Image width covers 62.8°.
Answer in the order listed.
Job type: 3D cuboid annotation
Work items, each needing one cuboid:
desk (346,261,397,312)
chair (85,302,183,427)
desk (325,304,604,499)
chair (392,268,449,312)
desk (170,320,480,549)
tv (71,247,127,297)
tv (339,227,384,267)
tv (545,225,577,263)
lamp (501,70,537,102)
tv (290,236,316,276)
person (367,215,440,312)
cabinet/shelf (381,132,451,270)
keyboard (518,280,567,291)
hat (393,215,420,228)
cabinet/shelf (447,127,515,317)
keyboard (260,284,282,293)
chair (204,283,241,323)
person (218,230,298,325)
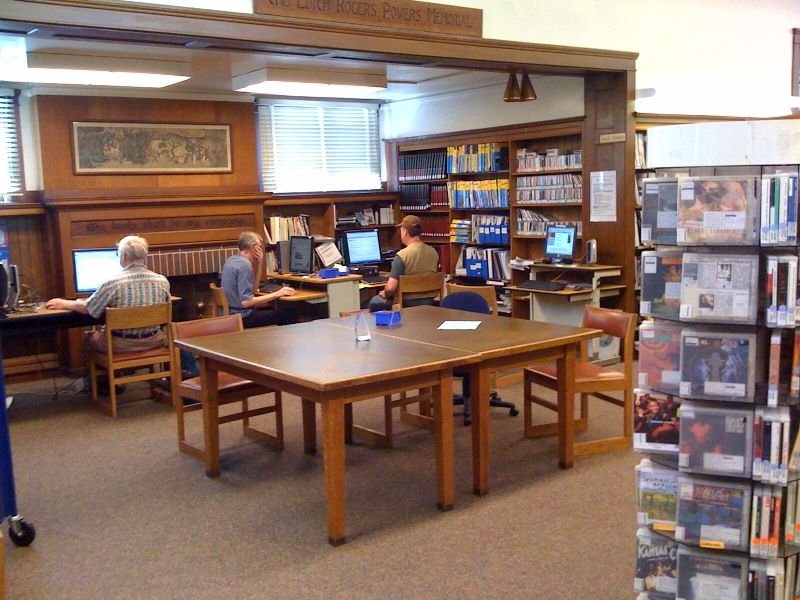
[{"bbox_3d":[-0.358,-0.155,8.095,0.508,0.323,0.772,11,19,40],"label":"desk"},{"bbox_3d":[-2.373,0.615,6.035,0.699,0.955,0.707,-7,-20,-9],"label":"chair"},{"bbox_3d":[0.460,0.806,4.504,1.227,0.854,1.762,-5,6,-41],"label":"desk"},{"bbox_3d":[0.261,-0.123,6.728,0.374,0.614,0.443,-5,19,-19],"label":"chair"},{"bbox_3d":[-0.409,0.800,4.333,1.166,0.867,1.700,9,4,33],"label":"desk"},{"bbox_3d":[-2.978,-0.263,6.416,0.510,0.440,0.066,-9,12,-28],"label":"tv"},{"bbox_3d":[-0.350,-0.698,8.679,0.397,0.508,0.659,-12,8,-40],"label":"tv"},{"bbox_3d":[1.732,-0.646,7.249,0.364,0.379,0.205,2,20,-12],"label":"tv"},{"bbox_3d":[1.190,-2.115,6.474,0.230,0.272,0.346,4,13,28],"label":"lamp"},{"bbox_3d":[-1.189,-0.532,7.966,0.347,0.418,0.296,6,3,-6],"label":"tv"},{"bbox_3d":[0.018,-0.394,7.098,0.846,0.945,0.827,-1,8,1],"label":"person"},{"bbox_3d":[0.340,-1.477,9.206,0.891,1.462,0.211,-4,-8,-16],"label":"cabinet/shelf"},{"bbox_3d":[1.538,-0.149,6.947,0.312,0.077,0.486,-9,13,-34],"label":"keyboard"},{"bbox_3d":[0.042,-0.815,6.913,0.242,0.163,0.332,-7,9,-35],"label":"hat"},{"bbox_3d":[0.967,-1.031,8.329,0.308,2.113,0.941,-11,23,-42],"label":"cabinet/shelf"},{"bbox_3d":[-1.469,-0.129,7.271,0.157,0.039,0.149,12,16,41],"label":"keyboard"},{"bbox_3d":[-1.787,0.032,6.561,0.387,0.504,0.326,-6,13,-29],"label":"chair"},{"bbox_3d":[-1.481,-0.097,6.995,0.795,1.209,0.595,-7,18,-27],"label":"person"}]
